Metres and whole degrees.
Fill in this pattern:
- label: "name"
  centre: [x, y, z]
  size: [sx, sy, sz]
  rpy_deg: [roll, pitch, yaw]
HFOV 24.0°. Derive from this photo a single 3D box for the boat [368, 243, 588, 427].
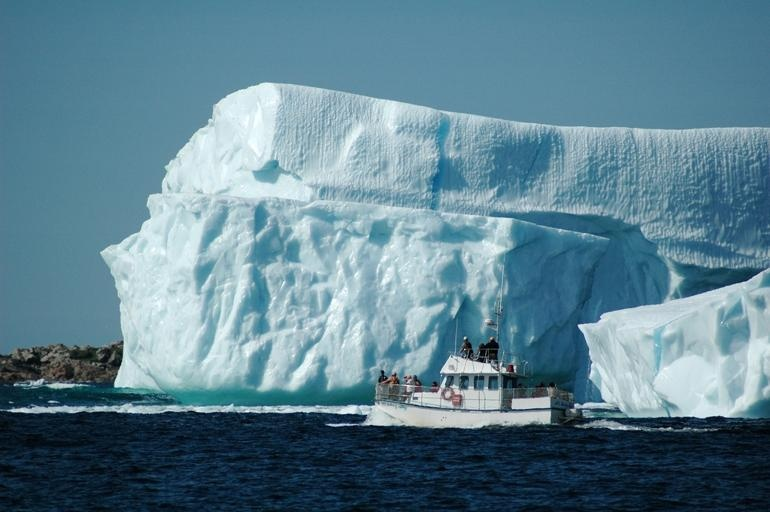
- label: "boat"
  centre: [2.967, 4.388, 66.467]
  size: [9.942, 7.819, 3.422]
  rpy_deg: [1, -10, 10]
